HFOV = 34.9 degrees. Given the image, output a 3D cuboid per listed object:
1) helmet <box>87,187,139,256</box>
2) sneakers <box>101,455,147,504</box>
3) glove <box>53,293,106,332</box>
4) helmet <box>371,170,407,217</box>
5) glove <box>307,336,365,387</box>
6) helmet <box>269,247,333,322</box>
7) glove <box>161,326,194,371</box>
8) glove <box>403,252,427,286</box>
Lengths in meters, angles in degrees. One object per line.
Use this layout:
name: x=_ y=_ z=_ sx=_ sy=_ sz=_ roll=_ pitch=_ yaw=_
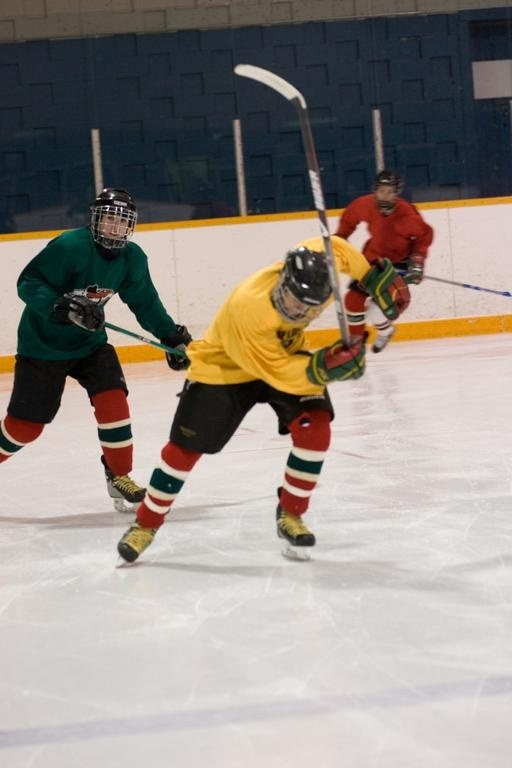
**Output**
helmet: x=-0.496 y=-0.509 z=2.509 sx=0.167 sy=0.172 sz=0.195 roll=4 pitch=17 yaw=-19
sneakers: x=-0.419 y=0.319 z=2.656 sx=0.223 sy=0.133 sz=0.080 roll=4 pitch=13 yaw=44
glove: x=-0.515 y=-0.211 z=2.394 sx=0.113 sy=0.066 sz=0.141 roll=29 pitch=2 yaw=-14
helmet: x=0.814 y=-1.178 z=5.012 sx=0.170 sy=0.263 sz=0.227 roll=-5 pitch=9 yaw=9
glove: x=0.190 y=-0.052 z=1.917 sx=0.146 sy=0.084 sz=0.056 roll=-29 pitch=12 yaw=2
helmet: x=0.113 y=-0.226 z=1.879 sx=0.132 sy=0.177 sz=0.150 roll=-10 pitch=9 yaw=-20
glove: x=-0.279 y=-0.121 z=2.770 sx=0.083 sy=0.143 sz=0.120 roll=-10 pitch=-5 yaw=36
glove: x=0.965 y=-0.695 z=5.051 sx=0.163 sy=0.109 sz=0.235 roll=-15 pitch=33 yaw=31
